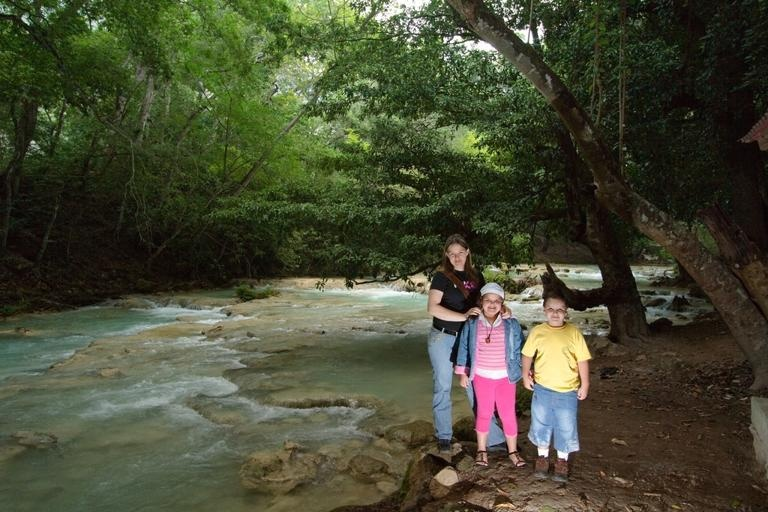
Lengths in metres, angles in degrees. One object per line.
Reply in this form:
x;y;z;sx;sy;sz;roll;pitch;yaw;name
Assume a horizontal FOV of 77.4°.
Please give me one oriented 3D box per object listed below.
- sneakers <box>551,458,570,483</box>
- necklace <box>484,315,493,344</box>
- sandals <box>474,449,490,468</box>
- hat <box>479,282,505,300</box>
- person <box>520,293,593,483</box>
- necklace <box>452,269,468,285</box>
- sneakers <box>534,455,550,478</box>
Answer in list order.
2.392;2.856;6.451;0.270;0.289;0.220;-4;-4;3;sneakers
1.443;1.071;6.575;0.103;0.251;0.020;-3;-4;-11;necklace
1.378;2.827;6.683;0.163;0.122;0.436;-1;-15;7;sandals
1.513;0.470;6.649;0.263;0.163;0.255;12;-10;12;hat
2.354;1.738;6.491;0.888;2.485;0.222;-5;-4;11;person
1.119;0.298;6.856;0.203;0.170;0.048;7;-27;-16;necklace
2.106;2.806;6.335;0.150;0.127;0.322;-3;-9;14;sneakers
